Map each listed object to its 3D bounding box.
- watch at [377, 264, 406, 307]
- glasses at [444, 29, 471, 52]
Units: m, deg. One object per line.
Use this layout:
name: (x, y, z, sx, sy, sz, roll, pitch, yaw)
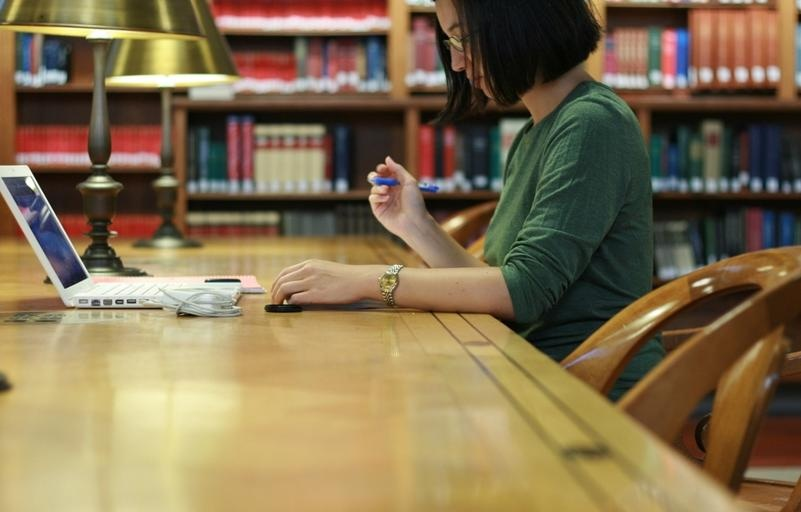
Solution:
watch: (-0.019, 0.057, 1.646, 0.055, 0.073, 0.074, -2, -26, 25)
glasses: (0.134, -0.465, 1.801, 0.076, 0.024, 0.074, -2, 6, -21)
